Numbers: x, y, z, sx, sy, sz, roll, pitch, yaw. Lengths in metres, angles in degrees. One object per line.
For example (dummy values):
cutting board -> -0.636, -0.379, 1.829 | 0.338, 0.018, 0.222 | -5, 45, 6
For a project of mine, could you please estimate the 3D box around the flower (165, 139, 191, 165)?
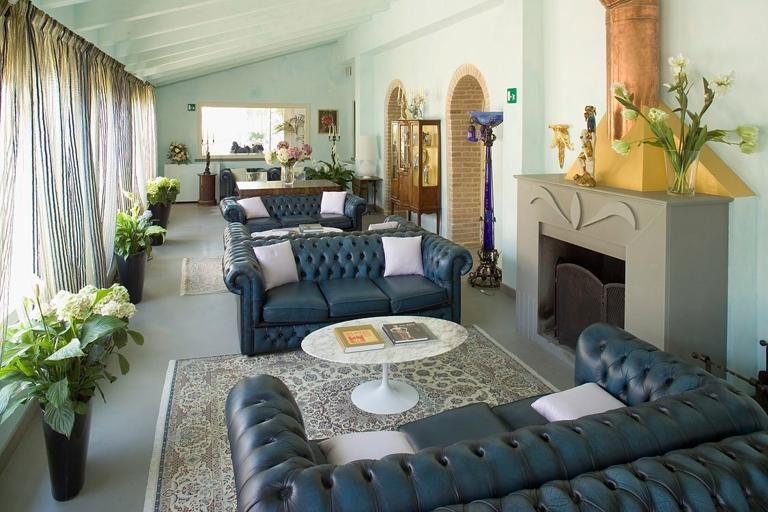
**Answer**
flower -> -5.571, -2.821, 14.033 | 0.641, 0.722, 0.627 | 0, 4, -7

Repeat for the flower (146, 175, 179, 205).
flower -> -4.407, -1.283, 10.144 | 0.630, 0.441, 0.649 | 5, 5, 34

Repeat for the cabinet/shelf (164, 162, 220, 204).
cabinet/shelf -> -4.978, -1.894, 13.141 | 1.449, 1.210, 0.457 | -1, 5, -22

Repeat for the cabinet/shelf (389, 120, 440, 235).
cabinet/shelf -> 0.602, -1.513, 9.564 | 0.552, 2.075, 1.454 | -9, 14, -19

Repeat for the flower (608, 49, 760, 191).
flower -> 2.580, -1.005, 4.532 | 1.187, 1.196, 1.181 | 0, 3, -21

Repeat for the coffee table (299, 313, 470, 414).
coffee table -> -0.033, 0.848, 4.299 | 1.162, 0.456, 0.840 | -7, 19, -19

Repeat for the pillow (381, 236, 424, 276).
pillow -> 0.214, 0.020, 5.887 | 0.418, 0.424, 0.149 | -2, -3, -2

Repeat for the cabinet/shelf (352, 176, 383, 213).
cabinet/shelf -> -0.331, -1.606, 12.549 | 0.786, 1.100, 1.184 | -1, 9, -11

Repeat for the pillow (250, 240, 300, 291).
pillow -> -1.178, 0.125, 5.477 | 0.413, 0.202, 0.360 | -20, 63, -32

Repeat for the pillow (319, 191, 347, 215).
pillow -> -0.900, -0.932, 9.129 | 0.397, 0.392, 0.145 | 5, -8, 15

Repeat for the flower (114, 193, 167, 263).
flower -> -3.279, -0.394, 6.669 | 0.547, 0.852, 0.640 | -12, 15, -27
